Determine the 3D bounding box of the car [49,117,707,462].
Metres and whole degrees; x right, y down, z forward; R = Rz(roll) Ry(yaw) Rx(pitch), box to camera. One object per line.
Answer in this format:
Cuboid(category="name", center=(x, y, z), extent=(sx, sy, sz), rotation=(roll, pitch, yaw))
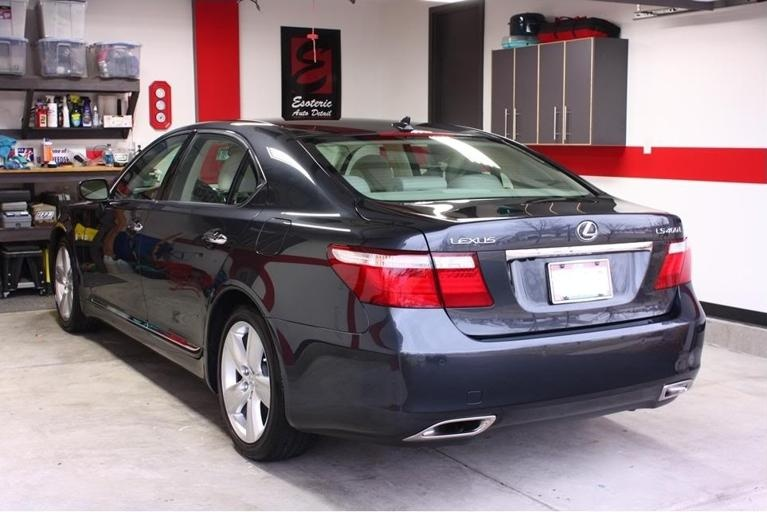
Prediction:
Cuboid(category="car", center=(-0.240, 0.117, 2.768), extent=(3.187, 1.794, 1.277), rotation=(7, 11, 35))
